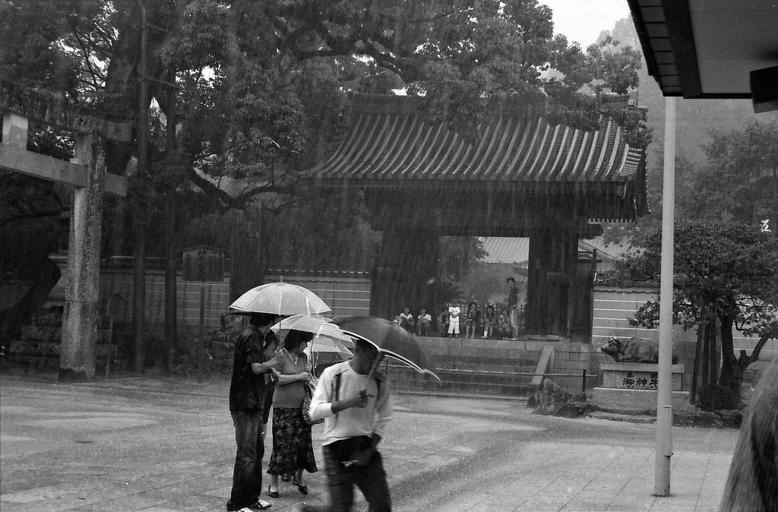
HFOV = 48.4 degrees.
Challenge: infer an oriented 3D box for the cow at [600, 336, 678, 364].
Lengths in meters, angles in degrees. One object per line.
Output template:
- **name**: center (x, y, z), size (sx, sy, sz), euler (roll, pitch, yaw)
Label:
- **cow**: center (6.400, 2.459, 22.668), size (2.202, 0.986, 0.845), euler (3, -3, 26)

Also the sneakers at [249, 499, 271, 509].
- **sneakers**: center (-1.903, 3.617, 12.697), size (0.286, 0.128, 0.167), euler (-2, 8, -4)

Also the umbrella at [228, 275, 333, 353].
- **umbrella**: center (-1.828, 0.788, 14.551), size (1.881, 0.718, 2.032), euler (0, -7, 8)

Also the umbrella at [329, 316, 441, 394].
- **umbrella**: center (0.073, 1.206, 11.915), size (1.407, 0.513, 1.501), euler (22, -6, 25)
